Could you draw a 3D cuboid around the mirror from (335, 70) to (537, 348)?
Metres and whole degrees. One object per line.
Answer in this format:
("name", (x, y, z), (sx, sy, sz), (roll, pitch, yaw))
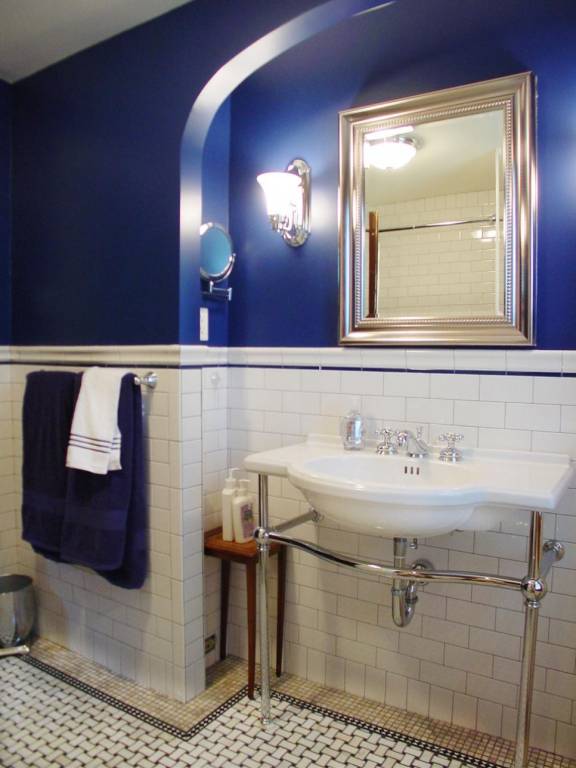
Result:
("mirror", (0.450, -0.525, 1.974), (0.585, 0.877, 0.055), (-1, -11, 21))

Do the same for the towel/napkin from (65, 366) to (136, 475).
("towel/napkin", (-0.647, 0.128, 2.181), (0.193, 0.360, 0.080), (0, -4, 6))

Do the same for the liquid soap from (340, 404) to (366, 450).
("liquid soap", (0.212, 0.157, 2.128), (0.100, 0.164, 0.099), (0, 0, -37))

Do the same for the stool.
("stool", (-0.179, 0.821, 2.297), (0.295, 0.548, 0.295), (0, 4, 24))

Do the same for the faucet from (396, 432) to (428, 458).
("faucet", (0.375, 0.186, 1.918), (0.054, 0.073, 0.105), (2, -11, -10))

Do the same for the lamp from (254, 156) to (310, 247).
("lamp", (-0.011, -0.643, 2.200), (0.142, 0.319, 0.242), (0, 4, 16))

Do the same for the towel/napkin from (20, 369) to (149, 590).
("towel/napkin", (-0.719, 0.321, 2.247), (0.646, 0.842, 0.143), (9, 11, 41))
